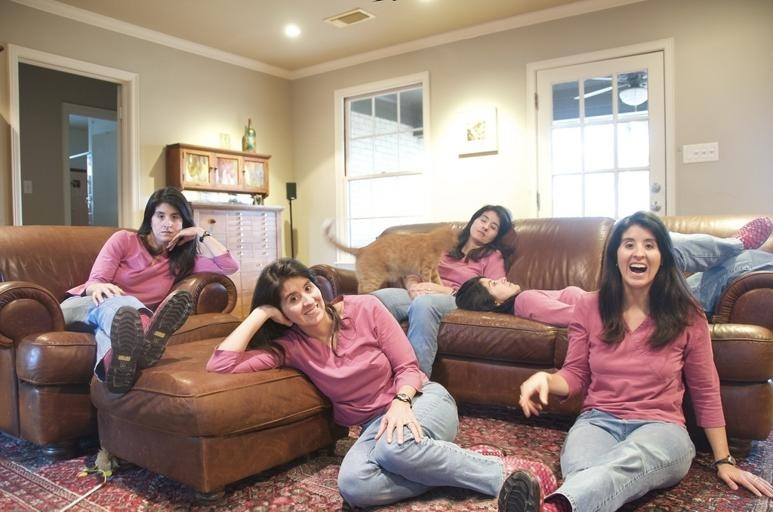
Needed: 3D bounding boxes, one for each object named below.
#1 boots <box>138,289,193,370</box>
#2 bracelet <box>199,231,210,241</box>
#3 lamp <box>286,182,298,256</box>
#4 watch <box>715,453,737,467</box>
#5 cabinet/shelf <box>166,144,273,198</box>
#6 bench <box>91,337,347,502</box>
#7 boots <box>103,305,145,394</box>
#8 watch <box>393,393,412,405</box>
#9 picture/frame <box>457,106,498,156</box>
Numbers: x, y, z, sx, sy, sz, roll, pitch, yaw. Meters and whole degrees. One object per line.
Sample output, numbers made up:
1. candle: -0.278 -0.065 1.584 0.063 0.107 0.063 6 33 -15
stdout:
1. boots: -1.080 0.349 2.848 0.220 0.270 0.610 31 -6 -25
2. bracelet: -1.212 -0.133 3.635 0.057 0.040 0.061 -10 28 34
3. lamp: -1.266 -0.483 7.360 0.153 1.011 0.275 -2 7 -8
4. watch: 1.575 0.963 2.562 0.087 0.055 0.090 -4 -39 9
5. cabinet/shelf: -1.969 -1.019 6.466 1.179 0.552 0.300 -6 9 -40
6. bench: -0.776 0.666 2.678 0.764 0.356 0.737 -4 -5 44
7. boots: -1.248 0.443 2.642 0.163 0.441 0.185 1 -2 -35
8. watch: 0.075 0.661 2.586 0.056 0.057 0.059 33 18 9
9. picture/frame: 1.020 -1.388 6.032 0.587 0.595 0.047 -1 -1 36
